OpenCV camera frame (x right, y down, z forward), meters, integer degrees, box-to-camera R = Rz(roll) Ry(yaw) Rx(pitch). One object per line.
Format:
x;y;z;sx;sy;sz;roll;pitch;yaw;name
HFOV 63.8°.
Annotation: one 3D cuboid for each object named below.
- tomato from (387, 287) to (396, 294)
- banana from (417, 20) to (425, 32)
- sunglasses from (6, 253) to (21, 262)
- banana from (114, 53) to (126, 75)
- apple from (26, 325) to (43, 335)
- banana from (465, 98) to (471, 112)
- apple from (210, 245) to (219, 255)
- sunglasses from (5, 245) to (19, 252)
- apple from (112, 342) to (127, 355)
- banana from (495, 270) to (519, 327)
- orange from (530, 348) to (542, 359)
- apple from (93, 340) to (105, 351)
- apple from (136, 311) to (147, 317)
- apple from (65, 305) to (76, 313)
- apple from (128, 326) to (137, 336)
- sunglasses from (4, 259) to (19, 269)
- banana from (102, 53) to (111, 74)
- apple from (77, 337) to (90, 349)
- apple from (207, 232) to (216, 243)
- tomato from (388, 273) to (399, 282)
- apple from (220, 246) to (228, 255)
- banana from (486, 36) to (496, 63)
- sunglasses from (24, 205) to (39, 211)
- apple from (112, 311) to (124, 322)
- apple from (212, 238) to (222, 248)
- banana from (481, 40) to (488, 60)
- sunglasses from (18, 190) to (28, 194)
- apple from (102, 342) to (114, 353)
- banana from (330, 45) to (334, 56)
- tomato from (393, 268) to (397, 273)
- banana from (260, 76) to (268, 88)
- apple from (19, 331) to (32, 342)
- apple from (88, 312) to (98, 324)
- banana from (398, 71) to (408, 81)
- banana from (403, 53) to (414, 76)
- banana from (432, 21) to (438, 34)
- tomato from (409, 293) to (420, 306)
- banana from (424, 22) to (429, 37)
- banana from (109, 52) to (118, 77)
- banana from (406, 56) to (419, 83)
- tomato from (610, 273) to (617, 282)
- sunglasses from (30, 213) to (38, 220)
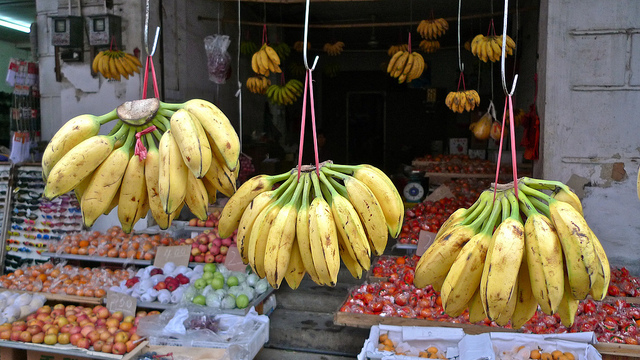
0.912;1.425;6.594;0.102;0.054;0.126;1;6;6;tomato
1.729;-2.654;8.822;0.071;0.290;0.057;36;-30;-10;banana
-4.798;1.210;8.028;0.266;0.121;0.092;7;2;1;sunglasses
-2.960;-1.694;7.540;0.092;0.298;0.079;-21;9;28;banana
-3.351;1.748;6.009;0.112;0.110;0.114;7;16;-6;apple
2.182;-1.111;7.616;0.148;0.154;0.086;-6;9;-44;banana
-1.447;0.966;7.057;0.098;0.105;0.101;-3;2;0;apple
-4.824;1.076;8.053;0.155;0.093;0.040;24;-12;-8;sunglasses
-2.307;1.930;5.923;0.120;0.130;0.117;-12;-5;1;apple
1.691;1.099;4.642;0.179;0.581;0.144;8;-8;32;banana
2.408;1.934;5.753;0.094;0.119;0.095;-7;6;-16;orange
-2.553;1.906;5.923;0.100;0.100;0.102;-6;11;-7;apple
-2.205;1.651;6.348;0.107;0.088;0.085;7;-9;25;apple
-3.102;1.594;6.374;0.067;0.071;0.066;-1;-4;3;apple
-2.225;1.782;6.108;0.090;0.078;0.124;-5;8;-40;apple
-4.823;1.309;8.025;0.238;0.120;0.021;2;6;12;sunglasses
-3.125;-1.684;7.531;0.099;0.317;0.081;3;11;-28;banana
-2.735;1.885;5.958;0.108;0.116;0.113;4;19;4;apple
-1.526;0.808;7.238;0.104;0.129;0.111;0;-1;6;apple
0.974;1.308;6.854;0.140;0.095;0.125;1;6;5;tomato
-1.325;0.969;7.113;0.091;0.099;0.095;27;13;-46;apple
2.453;-1.869;7.425;0.118;0.359;0.088;1;-1;32;banana
-4.502;0.437;8.015;0.238;0.091;0.021;1;6;7;sunglasses
-2.463;1.657;6.246;0.098;0.122;0.100;-3;-1;-4;apple
-1.419;0.868;7.177;0.127;0.113;0.111;-17;-46;28;apple
2.402;-1.886;7.516;0.096;0.282;0.066;3;6;16;banana
-4.665;0.191;8.069;0.149;0.062;0.019;2;6;12;sunglasses
-2.446;1.919;5.926;0.097;0.102;0.100;7;10;5;apple
0.243;-2.618;10.428;0.043;0.174;0.033;9;23;38;banana
1.009;1.234;6.992;0.040;0.053;0.024;-5;-6;20;tomato
-0.901;-1.583;8.316;0.047;0.151;0.117;-15;2;33;banana
-3.413;1.820;5.953;0.103;0.114;0.112;4;9;-3;apple
-2.757;1.678;6.248;0.093;0.087;0.094;-27;-25;-5;apple
1.242;-1.552;7.833;0.099;0.187;0.043;17;-5;28;banana
1.333;-1.729;7.799;0.092;0.366;0.125;14;-4;1;banana
1.923;-2.555;8.622;0.051;0.215;0.050;2;-8;-5;banana
1.178;1.500;6.450;0.107;0.126;0.130;5;8;33;tomato
1.817;-2.570;8.809;0.071;0.198;0.300;2;6;11;banana
-3.030;-1.657;7.543;0.095;0.298;0.066;-12;13;-43;banana
1.381;-1.677;7.840;0.100;0.503;0.166;17;2;25;banana
3.822;1.269;6.703;0.076;0.128;0.265;4;7;29;tomato
-4.463;0.571;8.010;0.110;0.096;0.044;2;6;15;sunglasses
